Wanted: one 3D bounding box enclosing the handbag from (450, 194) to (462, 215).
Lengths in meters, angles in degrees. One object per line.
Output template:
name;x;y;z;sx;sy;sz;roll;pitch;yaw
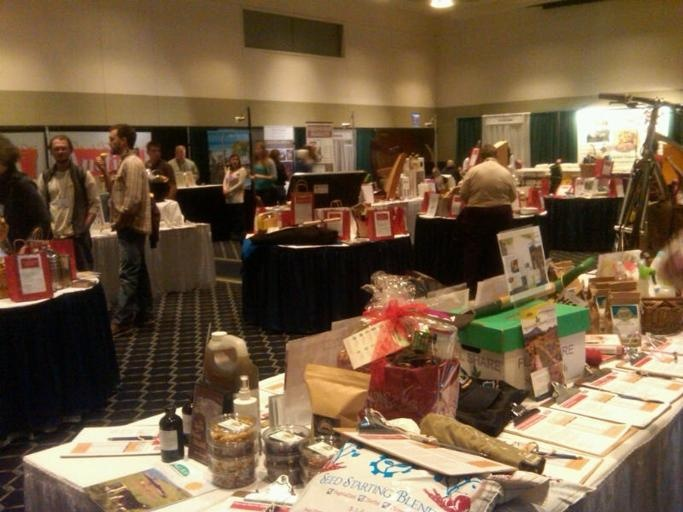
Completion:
handbag;1.413;-0.614;6.691;0.136;0.228;0.359;0;14;12

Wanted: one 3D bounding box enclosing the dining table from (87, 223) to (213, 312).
dining table;-2.201;0.092;6.593;0.982;0.521;1.026;-2;10;-1

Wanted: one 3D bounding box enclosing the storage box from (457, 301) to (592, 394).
storage box;0.646;0.192;1.921;0.523;0.282;0.279;-11;12;-38

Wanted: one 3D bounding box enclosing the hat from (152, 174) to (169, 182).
hat;-2.319;-1.016;6.874;0.123;0.095;0.126;8;15;18

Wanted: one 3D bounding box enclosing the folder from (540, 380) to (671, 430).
folder;0.935;0.533;1.897;0.379;0.049;0.415;-5;-1;-40

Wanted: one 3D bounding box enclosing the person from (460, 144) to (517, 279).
person;1.467;-0.375;5.485;0.530;1.417;0.392;2;13;20

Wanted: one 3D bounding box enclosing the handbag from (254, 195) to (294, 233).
handbag;-0.680;-0.408;5.702;0.393;0.416;0.407;0;1;25

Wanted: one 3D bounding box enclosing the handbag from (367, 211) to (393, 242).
handbag;0.361;-0.290;5.336;0.254;0.301;0.104;-10;7;-33

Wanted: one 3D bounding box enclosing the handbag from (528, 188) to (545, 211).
handbag;2.538;-0.743;7.063;0.204;0.279;0.433;3;14;21

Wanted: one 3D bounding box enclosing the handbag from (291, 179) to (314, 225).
handbag;-0.414;-0.574;5.663;0.215;0.400;0.565;-3;13;-2

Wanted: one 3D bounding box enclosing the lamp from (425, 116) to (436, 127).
lamp;2.498;-3.795;15.303;0.182;0.317;0.446;-10;10;-23

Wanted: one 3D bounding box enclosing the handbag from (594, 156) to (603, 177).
handbag;4.544;-1.551;9.534;0.139;0.270;0.659;4;15;25

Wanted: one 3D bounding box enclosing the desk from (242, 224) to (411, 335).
desk;-0.303;0.266;5.243;1.383;0.909;0.457;-1;13;7

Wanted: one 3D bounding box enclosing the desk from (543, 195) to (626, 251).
desk;3.855;-0.505;8.863;1.247;0.904;1.295;-1;8;-4

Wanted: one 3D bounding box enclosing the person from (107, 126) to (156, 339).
person;-2.020;-0.215;5.100;0.486;1.972;0.481;-7;13;-21

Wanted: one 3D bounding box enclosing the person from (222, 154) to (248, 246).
person;-1.899;-0.982;9.762;0.462;1.628;1.119;-5;13;-12

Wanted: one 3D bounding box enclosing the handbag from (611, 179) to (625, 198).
handbag;4.343;-1.077;8.527;0.201;0.275;0.324;4;15;27
